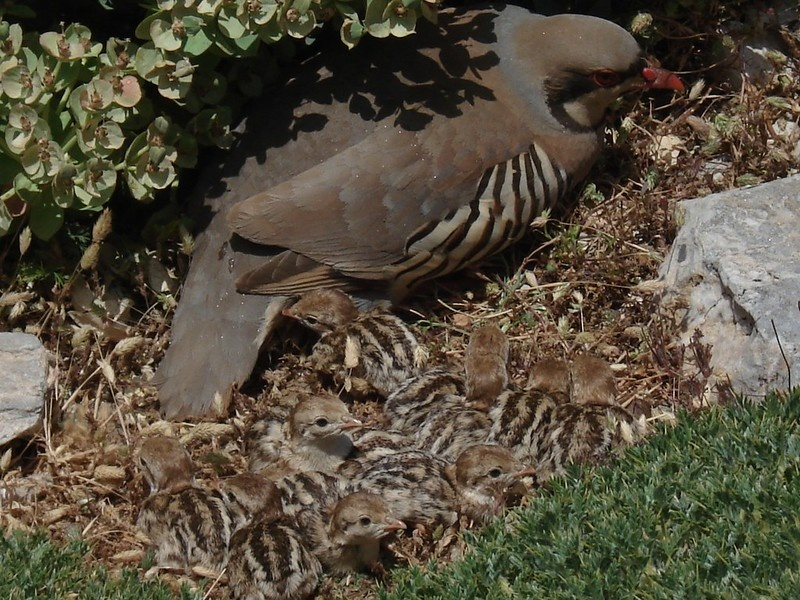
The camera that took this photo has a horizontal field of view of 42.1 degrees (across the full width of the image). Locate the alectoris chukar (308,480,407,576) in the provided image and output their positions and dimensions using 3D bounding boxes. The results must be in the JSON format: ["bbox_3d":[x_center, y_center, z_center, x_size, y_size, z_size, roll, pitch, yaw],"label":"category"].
[{"bbox_3d":[-0.264,1.190,5.242,0.585,0.404,0.310,8,61,5],"label":"alectoris chukar"}]

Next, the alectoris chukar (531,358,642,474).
[{"bbox_3d":[1.051,0.620,5.687,0.455,0.445,0.668,-12,21,35],"label":"alectoris chukar"}]

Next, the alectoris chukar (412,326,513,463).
[{"bbox_3d":[0.456,0.520,5.921,0.301,0.410,0.975,23,63,24],"label":"alectoris chukar"}]

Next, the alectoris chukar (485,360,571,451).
[{"bbox_3d":[0.759,0.542,5.810,0.251,0.271,0.698,17,39,27],"label":"alectoris chukar"}]
